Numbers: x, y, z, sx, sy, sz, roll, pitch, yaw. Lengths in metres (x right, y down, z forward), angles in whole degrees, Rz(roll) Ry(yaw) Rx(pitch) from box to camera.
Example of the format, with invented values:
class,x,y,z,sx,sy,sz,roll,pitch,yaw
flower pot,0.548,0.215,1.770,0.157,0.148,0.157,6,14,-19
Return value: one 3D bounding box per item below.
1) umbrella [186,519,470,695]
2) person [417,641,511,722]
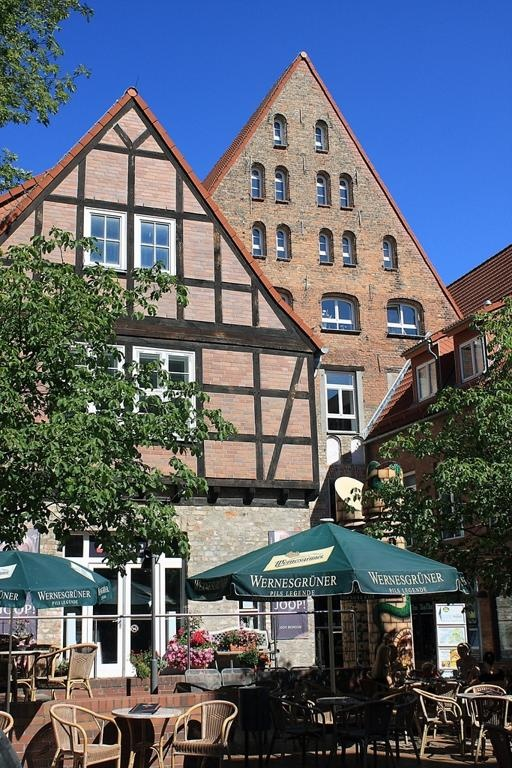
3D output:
class,x,y,z,sx,sy,sz,roll,pitch,yaw
umbrella,0.795,2.024,8.959,2.142,1.300,2.013,3,-13,-11
person,3.004,4.067,12.644,1.021,1.262,1.389,20,-30,-28
